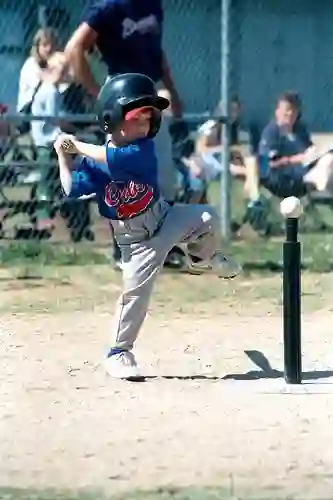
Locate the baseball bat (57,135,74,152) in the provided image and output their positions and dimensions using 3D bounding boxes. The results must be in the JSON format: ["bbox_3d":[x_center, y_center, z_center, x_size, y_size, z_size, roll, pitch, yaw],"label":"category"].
[{"bbox_3d":[-0.364,-0.379,2.448,0.063,0.051,0.061,9,17,31],"label":"baseball bat"}]

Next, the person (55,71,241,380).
[{"bbox_3d":[-0.066,-0.089,2.701,0.352,1.138,0.755,5,5,35],"label":"person"}]

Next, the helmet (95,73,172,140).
[{"bbox_3d":[-0.170,-0.533,2.552,0.260,0.167,0.175,1,12,21],"label":"helmet"}]

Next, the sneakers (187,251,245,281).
[{"bbox_3d":[0.203,0.076,3.009,0.296,0.088,0.127,3,-16,-6],"label":"sneakers"}]

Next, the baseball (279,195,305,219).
[{"bbox_3d":[0.417,-0.149,2.369,0.081,0.076,0.075,8,11,5],"label":"baseball"}]
